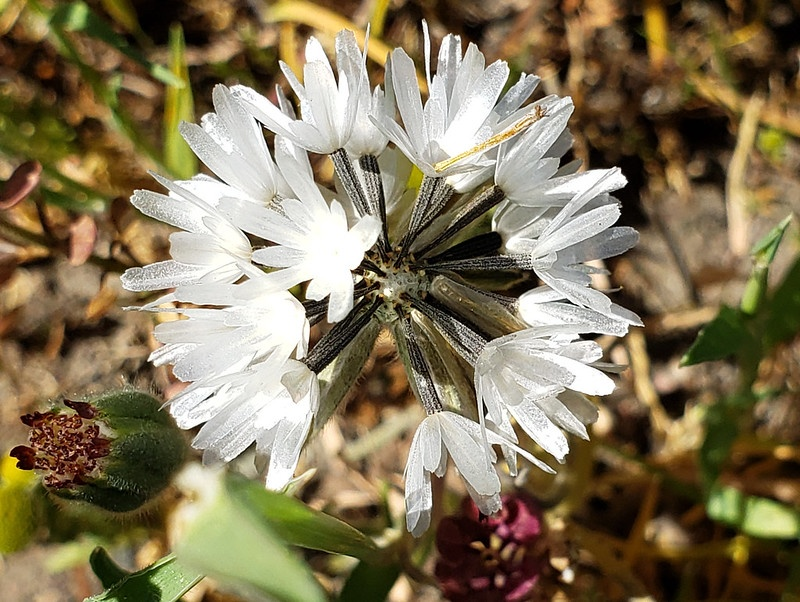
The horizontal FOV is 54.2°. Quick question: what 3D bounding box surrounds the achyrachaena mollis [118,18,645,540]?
[{"bbox_3d":[-0.040,-0.051,1.905,1.106,0.805,0.995,7,83,0],"label":"achyrachaena mollis"}]
